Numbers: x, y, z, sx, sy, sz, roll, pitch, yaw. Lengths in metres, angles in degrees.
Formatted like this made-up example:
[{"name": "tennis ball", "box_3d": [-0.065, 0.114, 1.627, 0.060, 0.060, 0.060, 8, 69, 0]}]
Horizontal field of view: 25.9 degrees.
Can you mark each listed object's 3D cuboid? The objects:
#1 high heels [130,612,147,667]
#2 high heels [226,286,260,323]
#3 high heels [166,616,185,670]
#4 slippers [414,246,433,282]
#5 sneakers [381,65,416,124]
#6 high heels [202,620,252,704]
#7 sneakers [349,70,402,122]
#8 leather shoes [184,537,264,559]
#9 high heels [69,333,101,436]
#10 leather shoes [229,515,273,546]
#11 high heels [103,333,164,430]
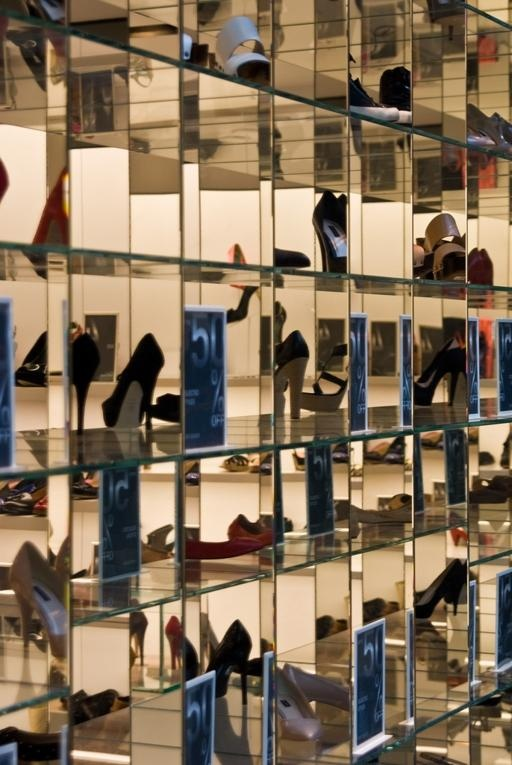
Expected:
[{"name": "high heels", "box_3d": [-0.206, 0.453, 1.973, 0.033, 0.088, 0.031, -1, -13, -7]}, {"name": "high heels", "box_3d": [-0.025, -0.153, 2.162, 0.030, 0.055, 0.094, 8, -18, -37]}, {"name": "high heels", "box_3d": [-0.133, 0.460, 1.984, 0.026, 0.041, 0.098, -4, -36, 4]}, {"name": "slippers", "box_3d": [0.394, -0.276, 2.614, 0.032, 0.051, 0.118, 1, 11, 15]}, {"name": "sneakers", "box_3d": [0.311, -0.638, 2.443, 0.046, 0.111, 0.140, 4, 7, 29]}, {"name": "high heels", "box_3d": [-0.052, 0.539, 2.147, 0.094, 0.157, 0.061, 1, -13, -15]}, {"name": "sneakers", "box_3d": [0.246, -0.613, 2.367, 0.153, 0.107, 0.050, 0, 6, -40]}, {"name": "leather shoes", "box_3d": [-0.054, 0.319, 2.144, 0.161, 0.041, 0.068, -2, -15, -7]}, {"name": "high heels", "box_3d": [-0.308, 0.003, 2.015, 0.062, 0.177, 0.050, 2, 1, -1]}, {"name": "leather shoes", "box_3d": [-0.009, 0.289, 2.166, 0.038, 0.053, 0.110, 4, -11, -41]}, {"name": "high heels", "box_3d": [-0.220, -0.011, 2.084, 0.065, 0.223, 0.073, 23, 8, 39]}]
